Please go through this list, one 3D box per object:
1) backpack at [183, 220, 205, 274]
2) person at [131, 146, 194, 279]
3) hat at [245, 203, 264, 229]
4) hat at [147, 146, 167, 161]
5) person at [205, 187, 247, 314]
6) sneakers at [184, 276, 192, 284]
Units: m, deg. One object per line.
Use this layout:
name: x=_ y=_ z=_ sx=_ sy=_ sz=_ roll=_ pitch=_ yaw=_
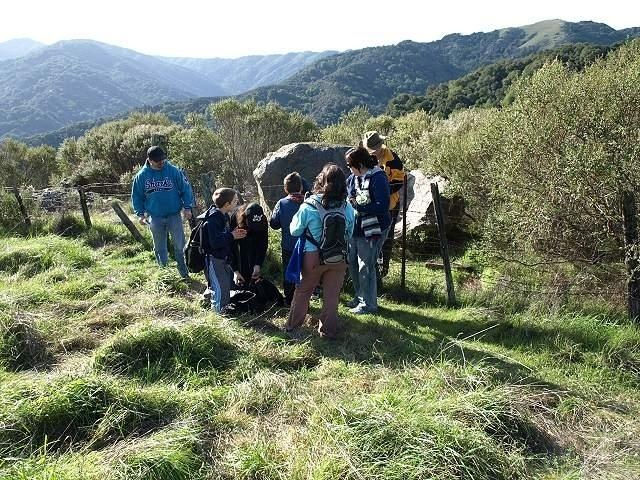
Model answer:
backpack: x=-1.790 y=0.111 z=7.418 sx=0.248 sy=0.763 sz=0.404 roll=-5 pitch=9 yaw=-19
person: x=-2.579 y=-0.405 z=8.622 sx=0.950 sy=2.207 sz=0.534 roll=-4 pitch=8 yaw=-16
hat: x=-0.897 y=-0.311 z=7.246 sx=0.216 sy=0.192 sz=0.352 roll=0 pitch=46 yaw=-18
hat: x=-2.700 y=-1.394 z=8.577 sx=0.260 sy=0.246 sz=0.599 roll=-5 pitch=10 yaw=-19
person: x=-1.345 y=0.143 z=7.282 sx=0.525 sy=1.672 sz=0.444 roll=-5 pitch=9 yaw=-21
sneakers: x=-2.248 y=0.671 z=8.832 sx=0.101 sy=0.047 sz=0.147 roll=11 pitch=8 yaw=-11
